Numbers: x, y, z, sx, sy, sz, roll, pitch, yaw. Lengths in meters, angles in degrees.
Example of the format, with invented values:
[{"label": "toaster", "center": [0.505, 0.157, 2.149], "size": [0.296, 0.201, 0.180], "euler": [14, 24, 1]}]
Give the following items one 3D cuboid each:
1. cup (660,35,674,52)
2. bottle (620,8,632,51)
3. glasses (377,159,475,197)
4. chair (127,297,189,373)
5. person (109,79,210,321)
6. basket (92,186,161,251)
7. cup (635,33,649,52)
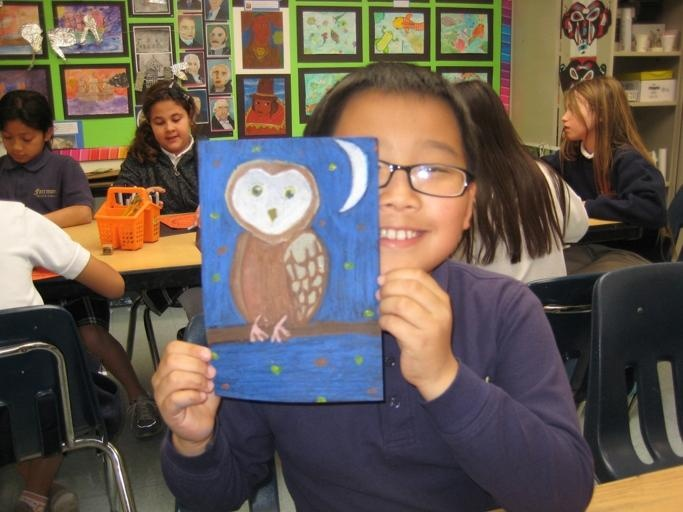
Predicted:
[{"label": "cup", "center": [2.299, -1.512, 4.000], "size": [0.085, 0.146, 0.106], "euler": [6, 12, 40]}, {"label": "bottle", "center": [1.979, -1.576, 3.965], "size": [0.074, 0.289, 0.056], "euler": [2, 10, 22]}, {"label": "glasses", "center": [0.141, -0.127, 0.938], "size": [0.167, 0.067, 0.039], "euler": [-6, 10, -22]}, {"label": "chair", "center": [-0.980, 0.361, 2.817], "size": [0.214, 0.346, 0.246], "euler": [7, -17, -18]}, {"label": "person", "center": [-0.954, -0.264, 3.255], "size": [0.675, 1.386, 0.535], "euler": [-4, 26, -12]}, {"label": "basket", "center": [-0.884, -0.162, 2.323], "size": [0.177, 0.221, 0.260], "euler": [4, 11, -3]}, {"label": "cup", "center": [2.100, -1.493, 3.984], "size": [0.078, 0.139, 0.145], "euler": [5, 12, 37]}]
